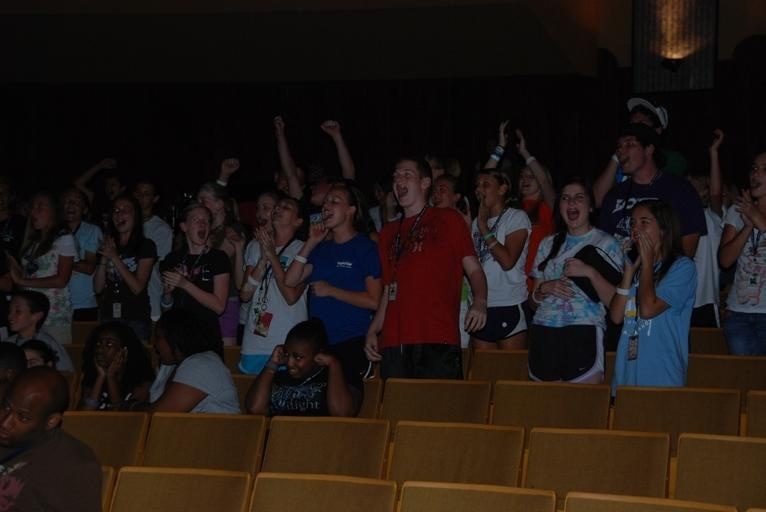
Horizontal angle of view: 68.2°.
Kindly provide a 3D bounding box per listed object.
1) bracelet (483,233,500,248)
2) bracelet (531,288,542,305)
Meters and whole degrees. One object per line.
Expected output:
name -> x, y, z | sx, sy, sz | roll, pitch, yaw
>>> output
bracelet -> 0.812, -0.117, 4.276 | 0.085, 0.060, 0.113 | 0, 15, 5
bracelet -> 1.032, 0.268, 3.815 | 0.074, 0.105, 0.040 | 9, 9, 22
